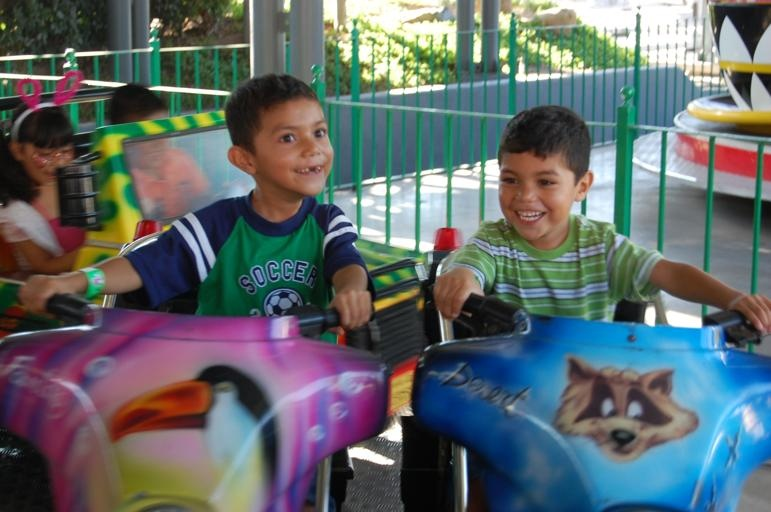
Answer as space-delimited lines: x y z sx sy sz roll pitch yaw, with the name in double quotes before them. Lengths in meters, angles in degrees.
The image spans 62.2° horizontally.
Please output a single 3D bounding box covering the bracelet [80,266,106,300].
"bracelet" -0.586 0.056 1.285 0.057 0.062 0.036 15 19 41
